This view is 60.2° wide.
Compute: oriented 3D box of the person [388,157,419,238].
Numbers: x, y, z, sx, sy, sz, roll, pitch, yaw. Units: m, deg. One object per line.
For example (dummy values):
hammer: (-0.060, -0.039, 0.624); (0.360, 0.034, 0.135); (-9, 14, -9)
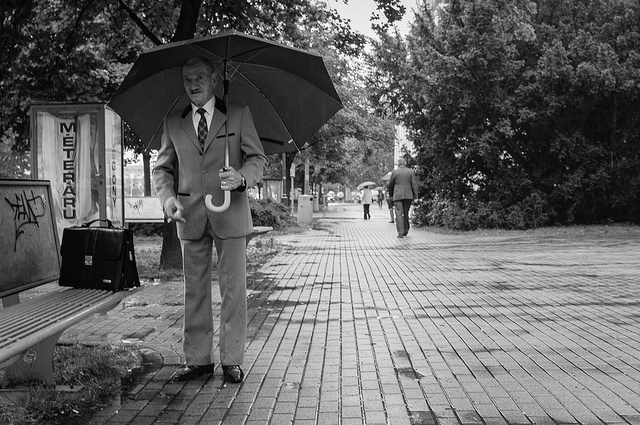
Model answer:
person: (2.976, -0.516, 19.855); (1.032, 2.752, 1.043); (0, 3, 8)

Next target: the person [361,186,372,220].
person: (2.850, -0.580, 33.822); (0.467, 1.988, 1.419); (0, 3, 4)

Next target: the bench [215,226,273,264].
bench: (-1.095, 0.526, 8.357); (0.707, 0.218, 0.791); (-31, 2, -41)

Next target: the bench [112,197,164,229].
bench: (-5.238, -0.041, 15.897); (0.952, 0.719, 0.552); (0, -10, 3)

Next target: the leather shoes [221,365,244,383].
leather shoes: (-0.850, 1.542, 5.326); (0.213, 0.176, 0.184); (0, 3, 1)

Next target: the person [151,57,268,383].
person: (-1.056, 0.072, 5.306); (1.062, 3.105, 0.694); (0, 3, -5)

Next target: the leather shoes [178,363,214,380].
leather shoes: (-1.213, 1.553, 5.434); (0.363, 0.171, 0.128); (2, 1, -19)

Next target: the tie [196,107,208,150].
tie: (-1.138, -0.812, 5.285); (0.119, 0.387, 0.051); (0, 3, 6)
